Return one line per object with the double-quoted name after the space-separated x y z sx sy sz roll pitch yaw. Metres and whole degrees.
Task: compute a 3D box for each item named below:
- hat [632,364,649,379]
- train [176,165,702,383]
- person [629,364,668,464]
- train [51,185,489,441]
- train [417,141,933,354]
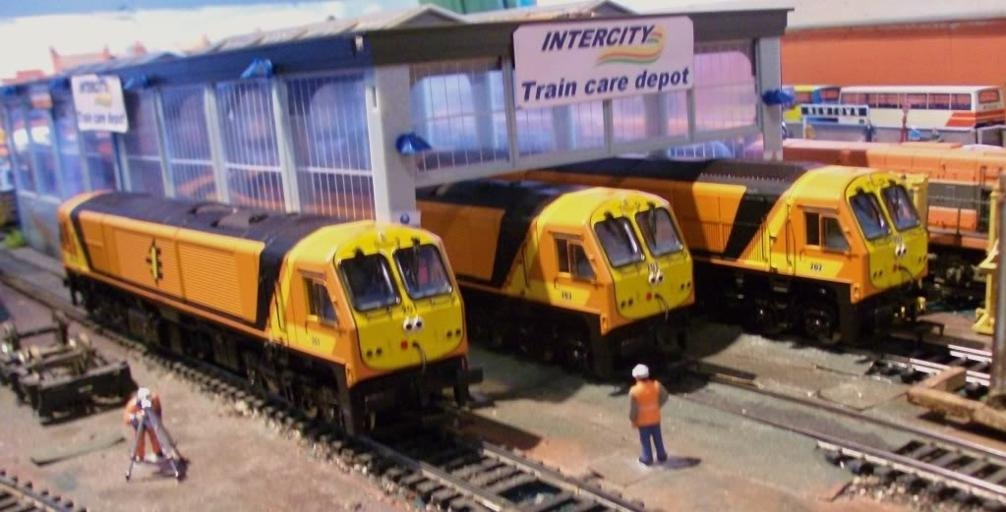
3.622 3.024 18.075 0.329 0.414 0.844 1 15 15 "hat"
1.032 0.580 25.866 4.707 5.757 13.249 4 -3 -29 "train"
3.917 4.153 18.320 0.933 2.755 1.218 0 16 13 "person"
-10.005 0.406 23.581 18.482 4.632 3.666 11 22 34 "train"
8.881 -1.087 29.153 5.759 5.324 19.335 -8 11 -22 "train"
